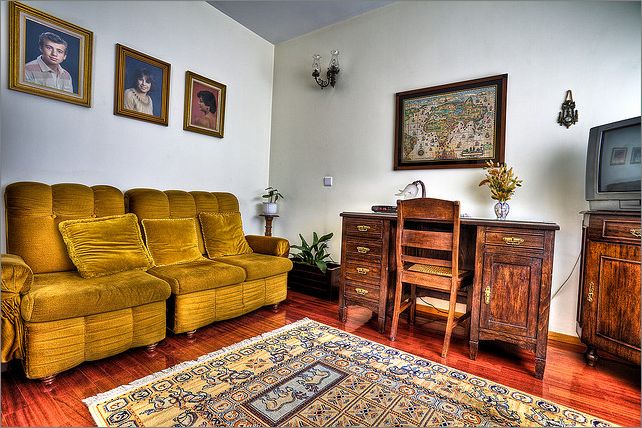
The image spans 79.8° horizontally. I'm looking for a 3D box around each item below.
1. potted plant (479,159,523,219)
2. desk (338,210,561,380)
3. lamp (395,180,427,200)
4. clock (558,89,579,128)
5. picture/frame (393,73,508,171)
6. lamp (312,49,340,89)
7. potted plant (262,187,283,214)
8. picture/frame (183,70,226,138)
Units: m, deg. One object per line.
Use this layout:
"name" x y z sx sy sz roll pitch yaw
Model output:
"potted plant" 1.753 -0.245 3.745 0.392 0.558 0.298 3 9 26
"desk" 1.163 0.719 3.411 1.411 0.845 0.511 -1 -3 34
"lamp" 0.988 -0.268 4.159 0.310 0.202 0.348 0 7 5
"clock" 2.321 -0.986 3.592 0.161 0.358 0.069 3 9 29
"picture/frame" 1.409 -0.963 4.017 1.197 0.937 0.047 0 -1 31
"lamp" 0.064 -1.805 4.740 0.349 0.456 0.353 0 8 10
"potted plant" -0.647 -0.186 5.090 0.412 0.385 0.330 2 -8 -7
"picture/frame" -1.371 -1.290 4.548 0.095 0.733 0.571 5 10 38
